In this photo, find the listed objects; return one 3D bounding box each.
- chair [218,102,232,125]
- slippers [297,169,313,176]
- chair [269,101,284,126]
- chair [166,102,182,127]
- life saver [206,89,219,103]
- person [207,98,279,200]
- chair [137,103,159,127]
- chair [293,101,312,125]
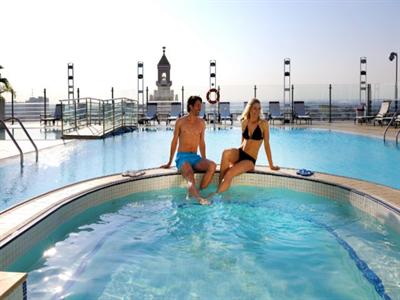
[{"bbox_3d":[1.373,-2.052,17.393,1.052,1.295,0.996,-6,9,-37],"label":"chair"},{"bbox_3d":[1.471,0.314,4.365,0.230,0.044,0.279,5,13,22],"label":"slippers"},{"bbox_3d":[4.101,-2.087,16.607,0.643,1.242,1.729,-1,6,2],"label":"chair"},{"bbox_3d":[-1.396,-2.054,16.856,0.674,1.045,1.427,1,12,1],"label":"chair"},{"bbox_3d":[0.653,-2.686,15.125,0.198,0.796,0.719,-1,-3,-42],"label":"life saver"},{"bbox_3d":[0.627,-0.101,4.455,1.035,1.260,0.424,-7,12,-29],"label":"person"},{"bbox_3d":[-2.916,-2.066,17.506,0.736,1.184,1.281,1,13,13],"label":"chair"},{"bbox_3d":[5.489,-2.058,16.819,0.694,0.969,1.292,-2,20,3],"label":"chair"}]
